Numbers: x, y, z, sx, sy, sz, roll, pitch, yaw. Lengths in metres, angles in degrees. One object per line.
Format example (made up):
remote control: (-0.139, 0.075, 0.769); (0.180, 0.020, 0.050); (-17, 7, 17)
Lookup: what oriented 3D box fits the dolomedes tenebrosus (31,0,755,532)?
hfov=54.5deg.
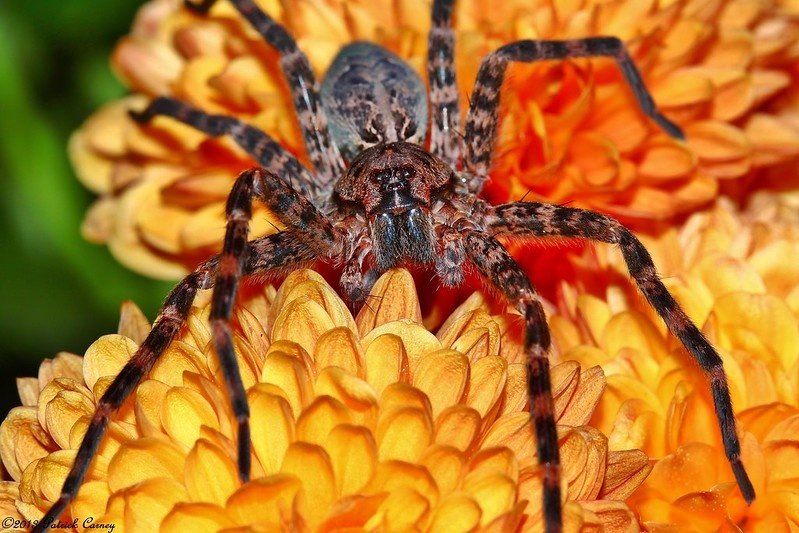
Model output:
dolomedes tenebrosus: (-0.057, -0.151, 1.187); (0.586, 0.873, 0.215); (2, -62, 4)
